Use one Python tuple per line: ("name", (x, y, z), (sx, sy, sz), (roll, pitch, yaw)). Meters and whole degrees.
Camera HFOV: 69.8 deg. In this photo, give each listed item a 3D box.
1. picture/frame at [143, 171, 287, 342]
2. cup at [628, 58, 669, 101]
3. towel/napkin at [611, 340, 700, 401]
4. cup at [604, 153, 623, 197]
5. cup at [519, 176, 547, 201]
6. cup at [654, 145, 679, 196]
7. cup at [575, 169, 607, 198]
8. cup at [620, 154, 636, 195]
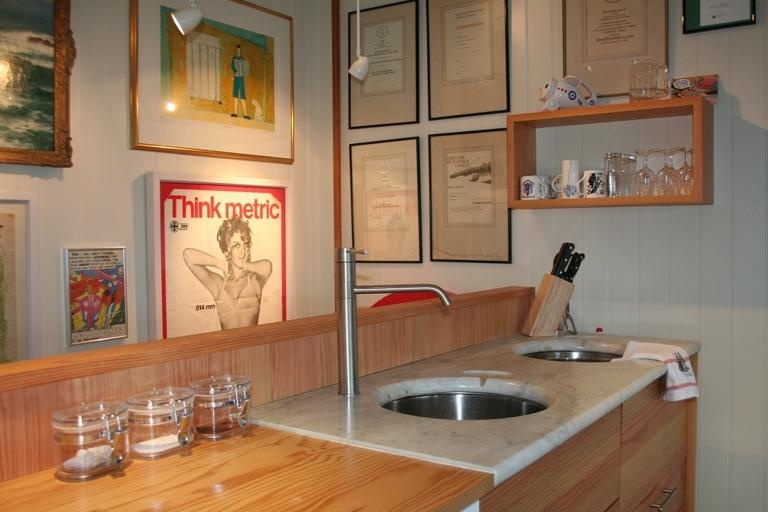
("picture/frame", (-0.938, -0.005, 2.949), (0.972, 1.052, 0.079), (-4, 5, -43))
("cup", (1.211, -0.807, 2.554), (0.220, 0.196, 0.144), (2, 4, 31))
("towel/napkin", (1.087, 0.433, 2.212), (0.287, 0.118, 0.282), (-4, 6, -40))
("cup", (1.086, -0.384, 2.598), (0.080, 0.196, 0.048), (3, 10, 17))
("cup", (0.750, -0.339, 2.750), (0.136, 0.130, 0.074), (-2, 4, 17))
("cup", (1.317, -0.387, 2.548), (0.098, 0.202, 0.288), (4, 11, 26))
("cup", (0.997, -0.348, 2.625), (0.148, 0.120, 0.089), (-2, 4, -10))
("cup", (1.159, -0.383, 2.591), (0.072, 0.188, 0.071), (0, 10, 0))
